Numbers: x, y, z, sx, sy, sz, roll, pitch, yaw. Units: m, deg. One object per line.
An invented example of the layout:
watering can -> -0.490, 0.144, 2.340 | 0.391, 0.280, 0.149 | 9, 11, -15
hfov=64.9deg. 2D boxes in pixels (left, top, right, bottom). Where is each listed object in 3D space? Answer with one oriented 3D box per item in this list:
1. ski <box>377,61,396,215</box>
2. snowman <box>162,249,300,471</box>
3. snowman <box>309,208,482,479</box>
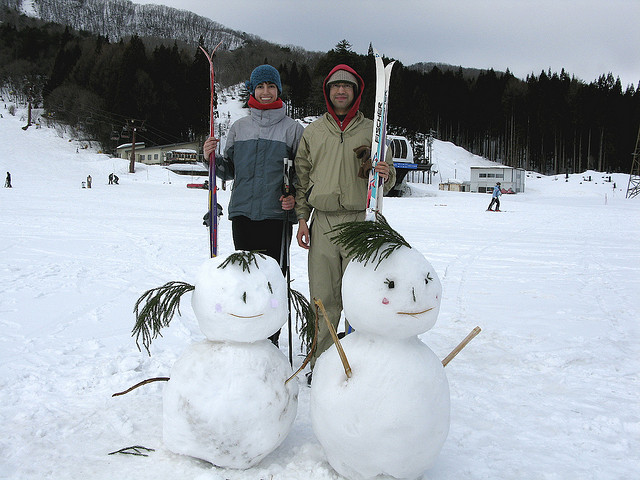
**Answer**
ski -> 0.606, -0.799, 4.338 | 0.140, 0.142, 1.866 | -16, -25, 1
snowman -> -0.512, 0.700, 2.980 | 0.786, 1.250, 0.400 | 3, 6, -15
snowman -> 0.364, 0.657, 2.877 | 0.810, 1.475, 0.393 | 6, 6, 17
